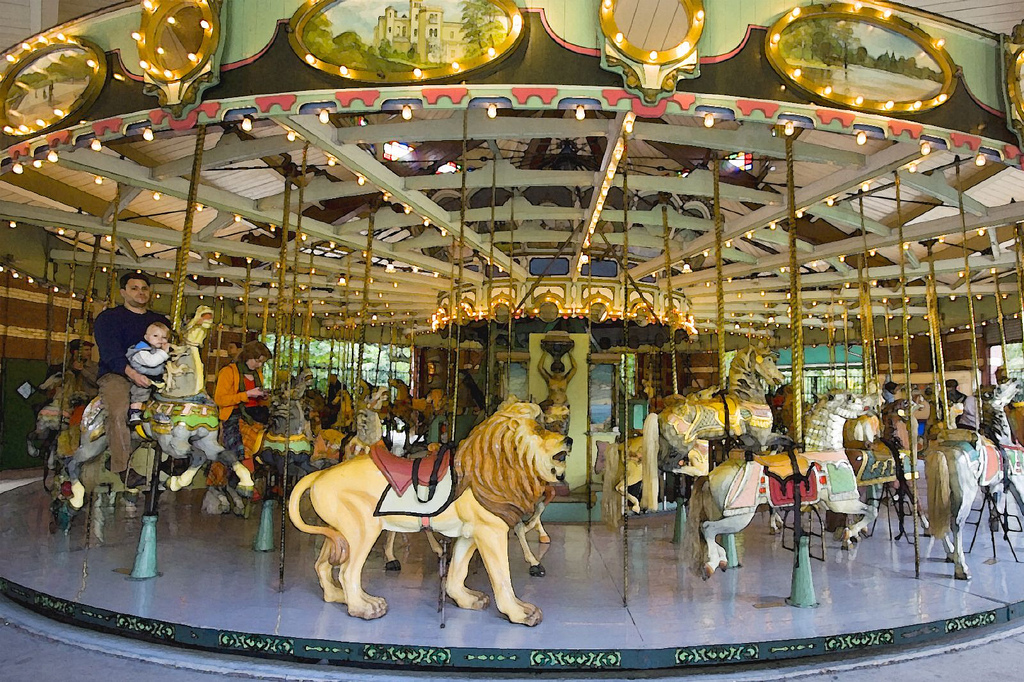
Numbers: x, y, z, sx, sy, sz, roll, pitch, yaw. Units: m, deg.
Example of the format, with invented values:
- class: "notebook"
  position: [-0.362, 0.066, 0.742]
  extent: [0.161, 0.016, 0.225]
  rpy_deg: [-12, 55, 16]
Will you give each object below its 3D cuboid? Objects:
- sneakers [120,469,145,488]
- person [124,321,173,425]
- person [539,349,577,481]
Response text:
- class: "sneakers"
  position: [-4.055, 1.500, 8.346]
  extent: [0.225, 0.110, 0.311]
  rpy_deg: [3, -7, -2]
- class: "person"
  position: [-3.596, 0.329, 7.758]
  extent: [0.448, 1.040, 0.316]
  rpy_deg: [-2, 8, -20]
- class: "person"
  position: [0.730, 1.131, 13.857]
  extent: [0.862, 2.181, 0.407]
  rpy_deg: [-2, 17, -4]
